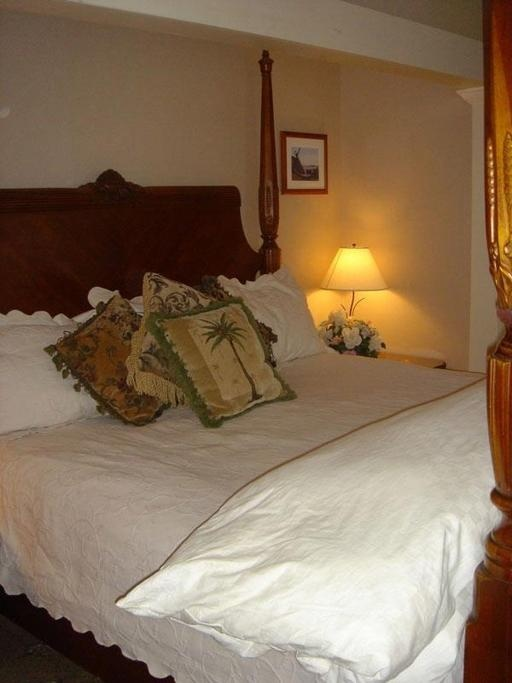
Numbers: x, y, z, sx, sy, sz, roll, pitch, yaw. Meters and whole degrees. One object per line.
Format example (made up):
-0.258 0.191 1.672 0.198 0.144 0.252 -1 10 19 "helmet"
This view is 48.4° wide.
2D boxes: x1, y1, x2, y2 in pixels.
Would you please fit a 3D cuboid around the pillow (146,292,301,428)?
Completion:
-0.137 0.066 2.010 0.449 0.436 0.107 -17 -18 -45 "pillow"

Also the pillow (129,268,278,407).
-0.182 0.063 2.093 0.613 0.453 0.178 -13 -17 -39 "pillow"

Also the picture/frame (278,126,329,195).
0.291 -1.171 3.677 0.023 0.403 0.597 7 14 34 "picture/frame"

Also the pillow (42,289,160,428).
-0.493 0.078 1.959 0.109 0.395 0.396 -29 14 39 "pillow"

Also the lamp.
0.676 -0.337 3.950 0.439 0.596 0.424 8 9 25 "lamp"
